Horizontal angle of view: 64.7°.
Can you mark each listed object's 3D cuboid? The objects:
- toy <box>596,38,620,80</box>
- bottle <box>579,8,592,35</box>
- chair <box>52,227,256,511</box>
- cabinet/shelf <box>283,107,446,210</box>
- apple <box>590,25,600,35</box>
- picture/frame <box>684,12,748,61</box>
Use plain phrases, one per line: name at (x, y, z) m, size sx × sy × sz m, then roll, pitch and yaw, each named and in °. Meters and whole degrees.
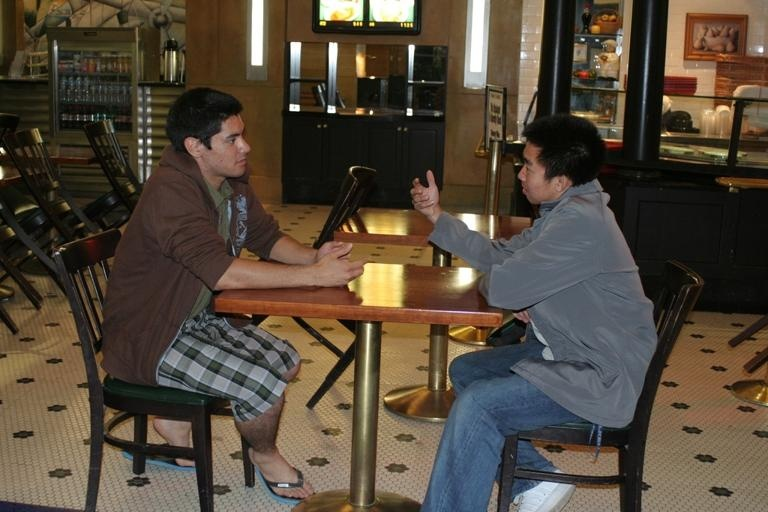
toy at (2.735, -2.419, 7.445) m, size 0.282 × 0.519 × 0.480 m, roll 4°, pitch 12°, yaw 12°
bottle at (2.578, -3.005, 7.765) m, size 0.134 × 0.363 × 0.325 m, roll 5°, pitch 12°, yaw 15°
chair at (-0.982, 0.489, 2.501) m, size 0.684 × 1.160 × 0.572 m, roll 2°, pitch 12°, yaw 0°
cabinet/shelf at (-0.262, -1.444, 8.854) m, size 2.299 × 1.235 × 0.753 m, roll 5°, pitch 15°, yaw 9°
apple at (2.637, -2.836, 7.610) m, size 0.111 × 0.097 × 0.107 m, roll -7°, pitch 14°, yaw -25°
picture/frame at (5.114, -3.420, 9.403) m, size 0.805 × 0.594 × 0.056 m, roll 0°, pitch 9°, yaw -3°
